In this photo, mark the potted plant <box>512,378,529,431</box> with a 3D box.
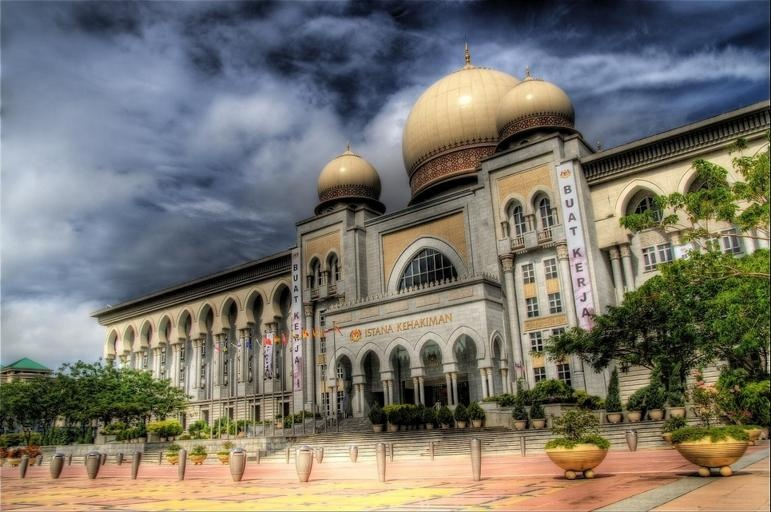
[{"bbox_3d":[7.122,7.937,33.704,0.766,2.337,1.843,-11,-19,18],"label":"potted plant"}]

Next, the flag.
[{"bbox_3d":[-7.797,6.115,48.348,10.827,1.308,0.834,-15,-18,15],"label":"flag"}]

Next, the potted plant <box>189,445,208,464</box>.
[{"bbox_3d":[-9.832,10.418,33.547,0.712,0.973,1.566,1,-19,-17],"label":"potted plant"}]

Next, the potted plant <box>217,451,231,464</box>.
[{"bbox_3d":[-8.637,10.698,34.030,0.459,0.713,1.395,2,-19,-20],"label":"potted plant"}]

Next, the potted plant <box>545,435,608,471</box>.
[{"bbox_3d":[5.457,5.614,18.200,1.271,0.680,1.246,4,-24,-11],"label":"potted plant"}]

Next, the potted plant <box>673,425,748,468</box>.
[{"bbox_3d":[8.714,5.177,17.376,1.408,0.779,1.377,3,-25,-10],"label":"potted plant"}]

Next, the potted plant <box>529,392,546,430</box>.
[{"bbox_3d":[7.770,7.939,32.504,0.723,1.576,0.757,-1,-19,-11],"label":"potted plant"}]
